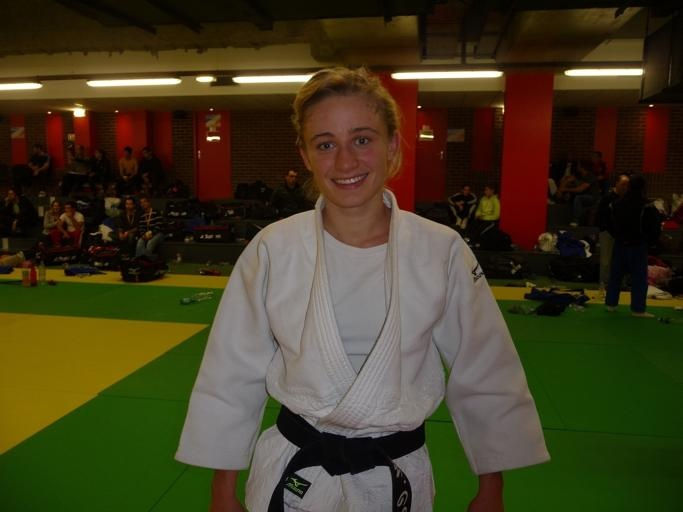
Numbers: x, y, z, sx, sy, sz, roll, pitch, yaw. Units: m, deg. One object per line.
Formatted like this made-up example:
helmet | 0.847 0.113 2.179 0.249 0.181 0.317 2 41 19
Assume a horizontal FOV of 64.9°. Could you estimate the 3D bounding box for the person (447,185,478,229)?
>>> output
person | 3.236 -1.317 14.365 0.731 1.330 1.309 5 4 13
